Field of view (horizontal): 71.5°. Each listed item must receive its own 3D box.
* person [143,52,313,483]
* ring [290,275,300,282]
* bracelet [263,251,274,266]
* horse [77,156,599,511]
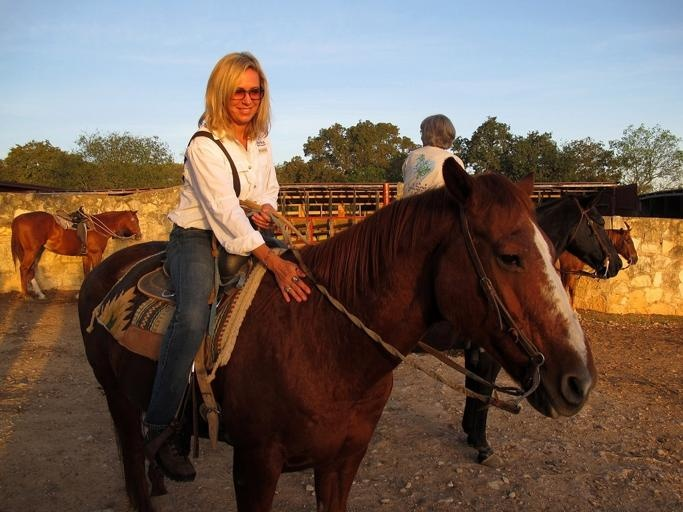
[{"bbox_3d":[-0.690,0.016,3.081,0.943,2.612,0.877,5,3,21],"label":"person"},{"bbox_3d":[-0.271,0.136,2.792,0.029,0.037,0.011,-35,6,4],"label":"ring"},{"bbox_3d":[-0.424,0.016,2.842,0.082,0.065,0.027,38,45,9],"label":"bracelet"},{"bbox_3d":[-0.363,0.384,4.648,4.731,4.166,1.635,2,2,25],"label":"horse"}]
